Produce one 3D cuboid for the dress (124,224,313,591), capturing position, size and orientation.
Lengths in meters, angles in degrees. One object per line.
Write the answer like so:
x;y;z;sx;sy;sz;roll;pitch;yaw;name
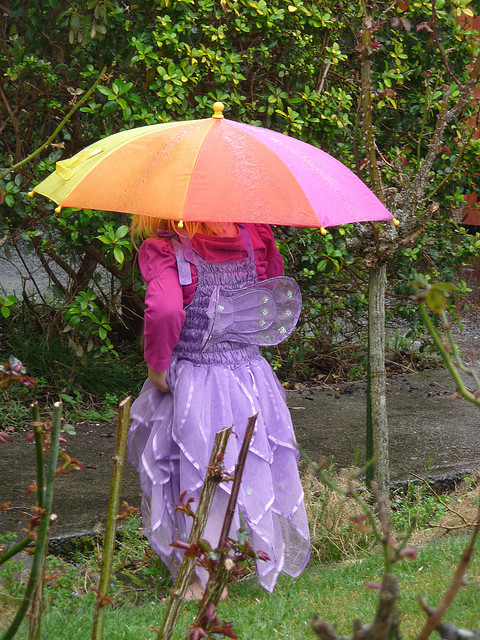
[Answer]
-0.037;0.351;2.994;0.855;1.479;0.539;4;-1;-8;dress
